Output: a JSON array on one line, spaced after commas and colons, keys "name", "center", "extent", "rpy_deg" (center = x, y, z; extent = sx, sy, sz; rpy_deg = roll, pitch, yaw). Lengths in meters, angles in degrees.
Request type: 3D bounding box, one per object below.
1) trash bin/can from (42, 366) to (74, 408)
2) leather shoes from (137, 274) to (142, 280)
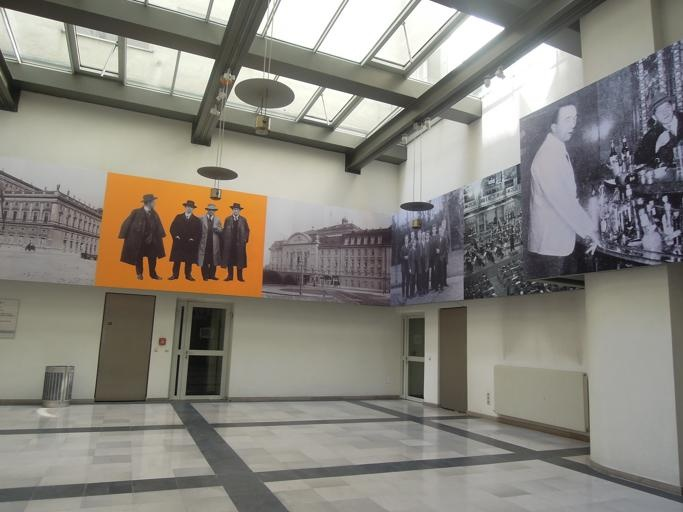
[{"name": "trash bin/can", "center": [-8.284, 3.820, 12.570], "extent": [0.702, 1.127, 0.414], "rpy_deg": [9, -12, -34]}, {"name": "leather shoes", "center": [-6.198, 0.657, 13.244], "extent": [0.135, 0.146, 0.144], "rpy_deg": [-2, -5, -6]}]
